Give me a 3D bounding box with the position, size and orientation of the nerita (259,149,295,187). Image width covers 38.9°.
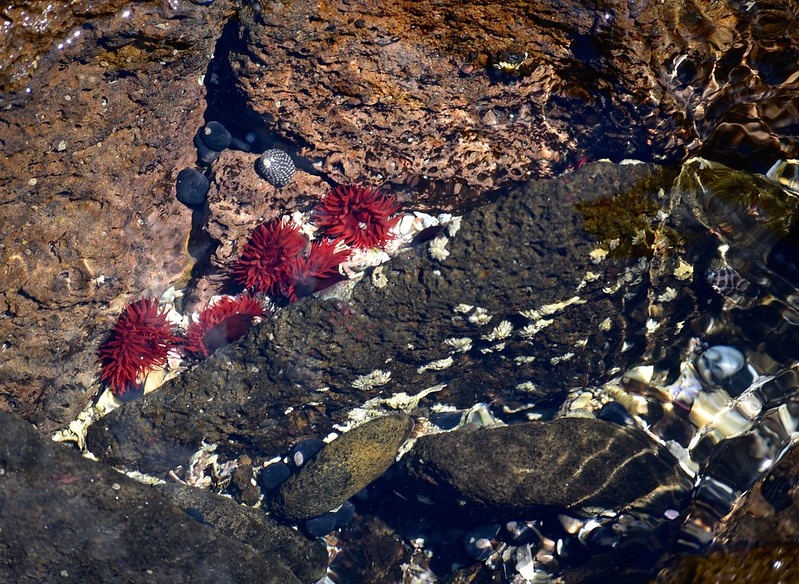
[{"bbox_3d":[-1.210,-1.195,10.981,0.326,0.335,0.243,0,48,14],"label":"nerita"}]

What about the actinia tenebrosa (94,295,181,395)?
[{"bbox_3d":[-2.565,0.494,11.217,0.388,0.951,0.800,27,93,14],"label":"actinia tenebrosa"}]

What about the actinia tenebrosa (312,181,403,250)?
[{"bbox_3d":[-0.416,-0.860,11.121,0.656,0.626,0.237,6,64,-30],"label":"actinia tenebrosa"}]

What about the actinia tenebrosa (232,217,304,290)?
[{"bbox_3d":[-1.261,-0.330,11.118,0.744,0.568,0.459,-33,49,-17],"label":"actinia tenebrosa"}]
